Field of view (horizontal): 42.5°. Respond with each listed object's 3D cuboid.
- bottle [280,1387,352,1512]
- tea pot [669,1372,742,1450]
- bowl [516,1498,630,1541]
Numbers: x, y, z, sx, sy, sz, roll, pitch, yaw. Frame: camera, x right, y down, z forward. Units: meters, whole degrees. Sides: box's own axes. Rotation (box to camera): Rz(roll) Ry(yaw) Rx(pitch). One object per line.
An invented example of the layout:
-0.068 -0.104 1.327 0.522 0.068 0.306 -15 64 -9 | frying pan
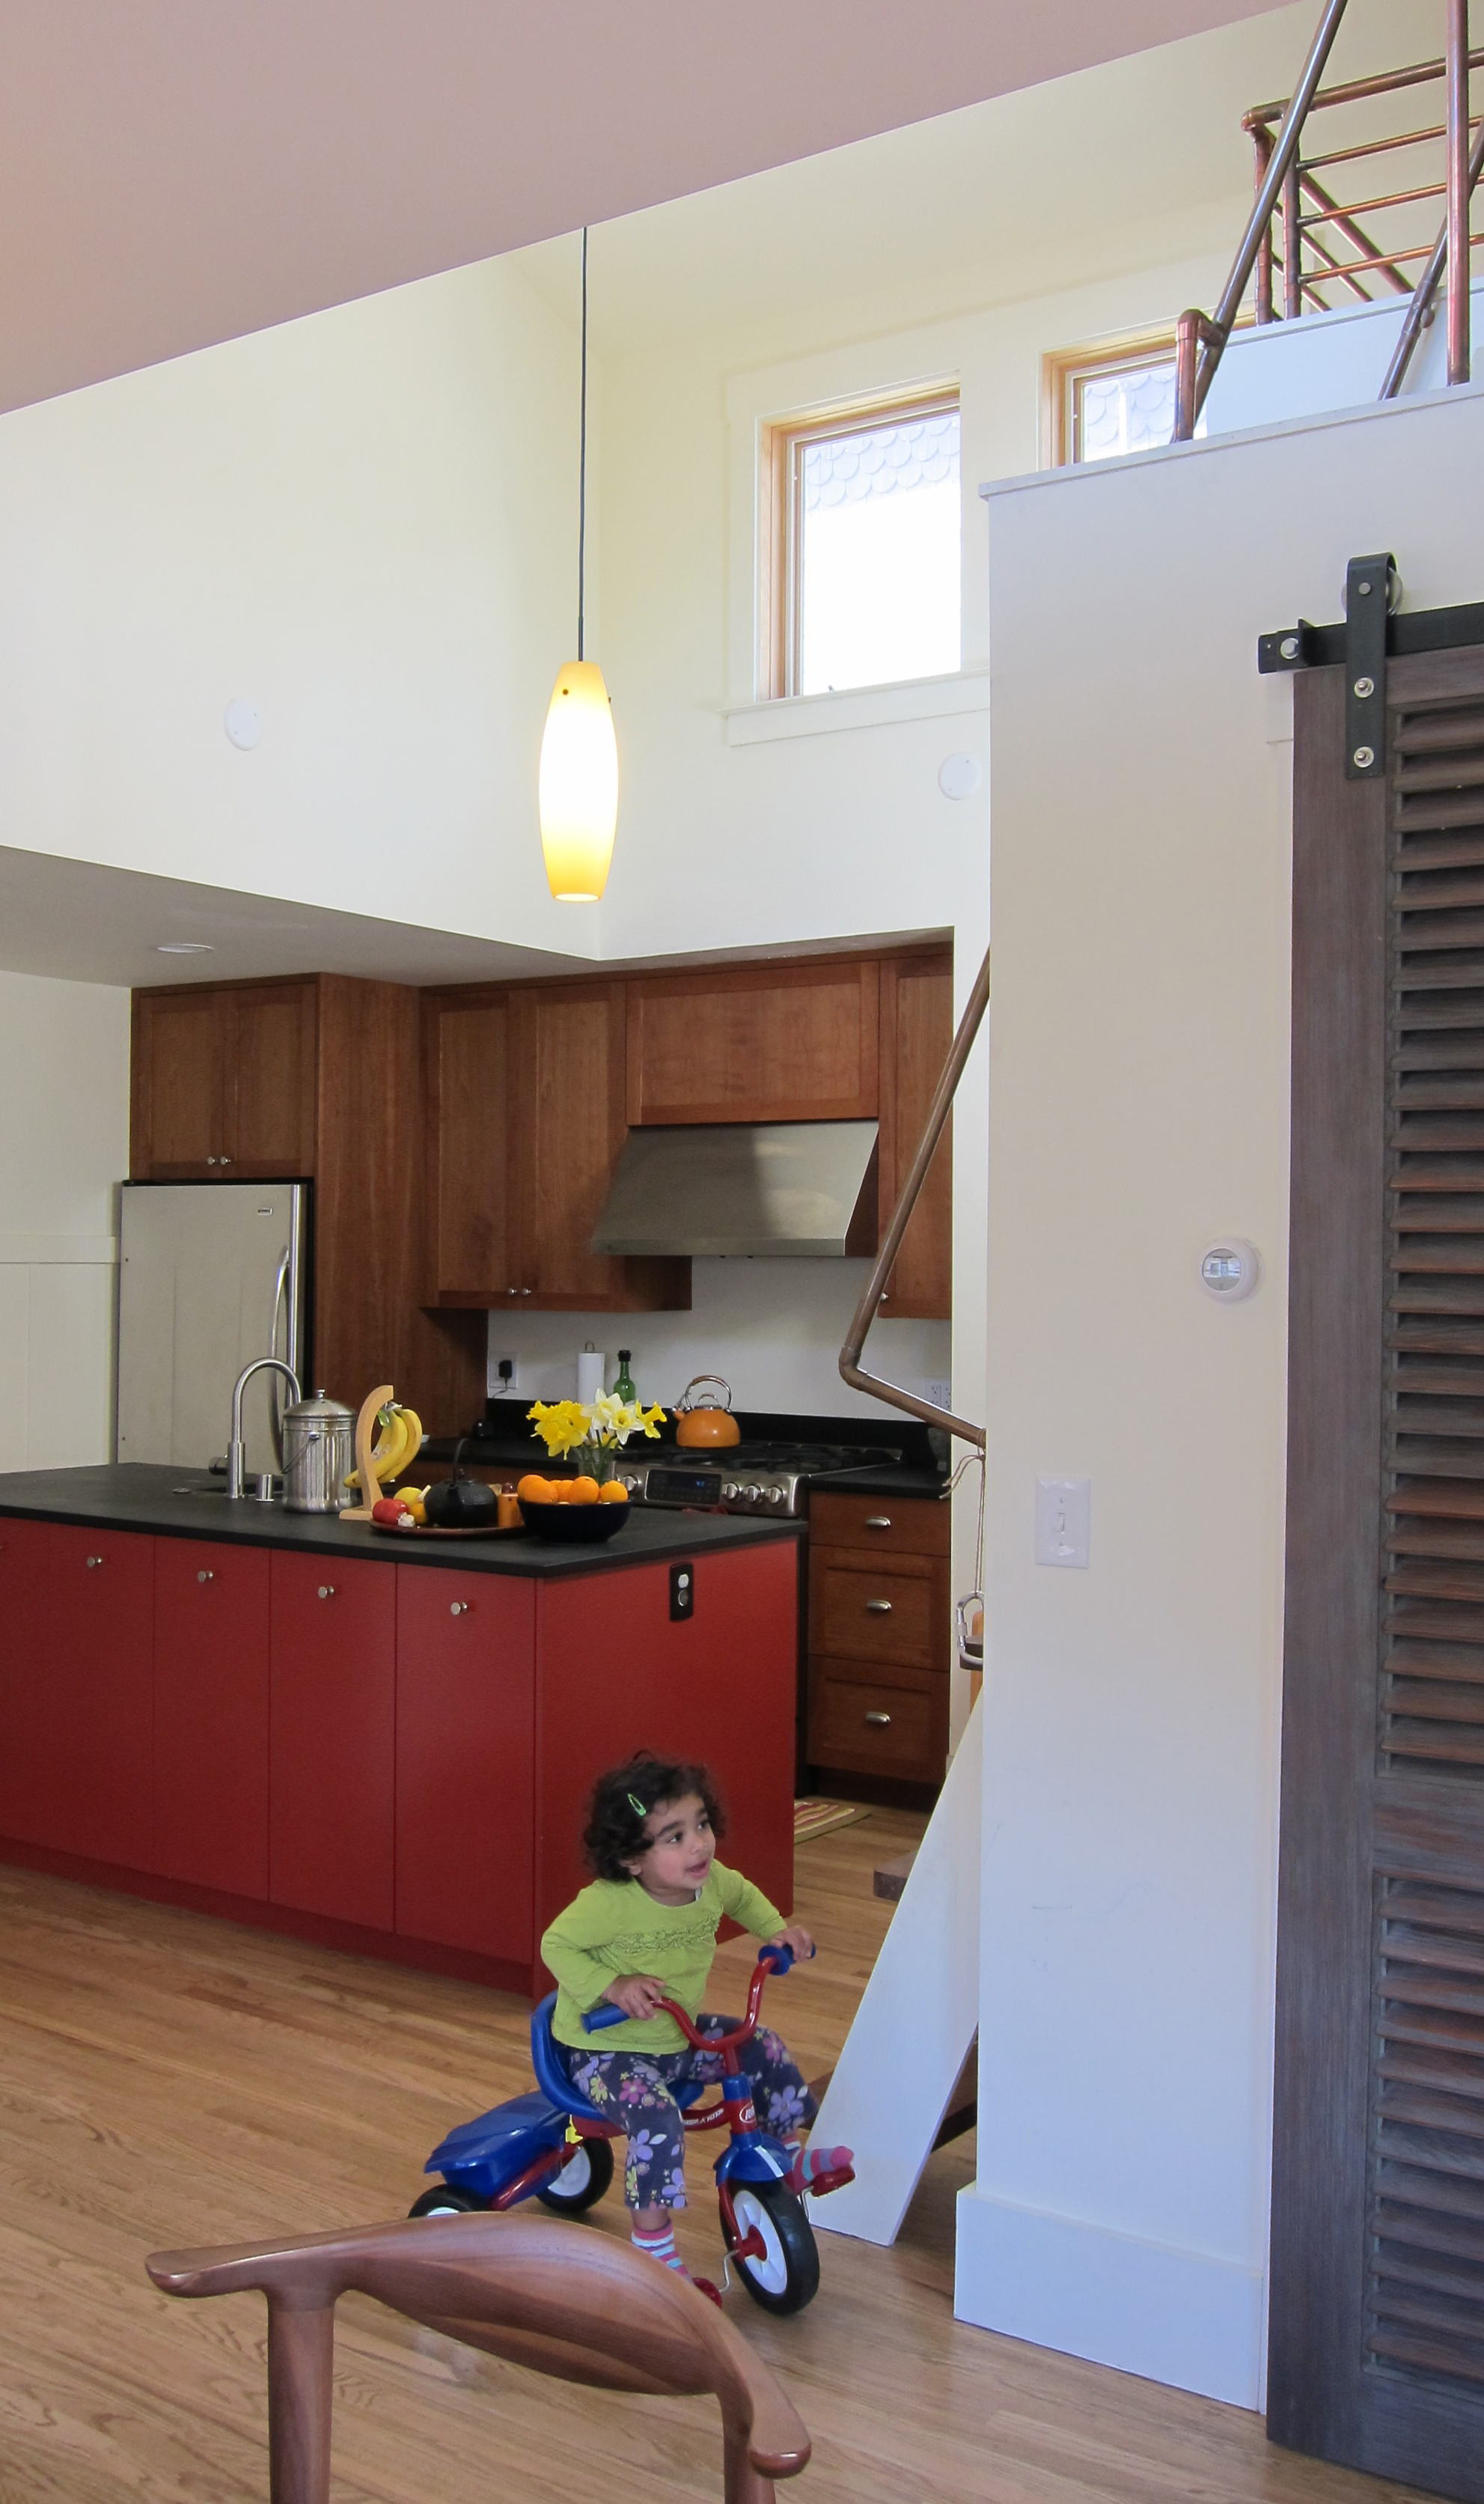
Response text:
-0.934 0.450 4.185 0.138 0.235 0.189 1 -1 -9 | bottle
-0.116 0.518 6.023 0.222 0.235 0.168 -1 -1 34 | tea pot
-0.330 0.516 3.652 0.195 0.086 0.160 0 -1 3 | bowl
